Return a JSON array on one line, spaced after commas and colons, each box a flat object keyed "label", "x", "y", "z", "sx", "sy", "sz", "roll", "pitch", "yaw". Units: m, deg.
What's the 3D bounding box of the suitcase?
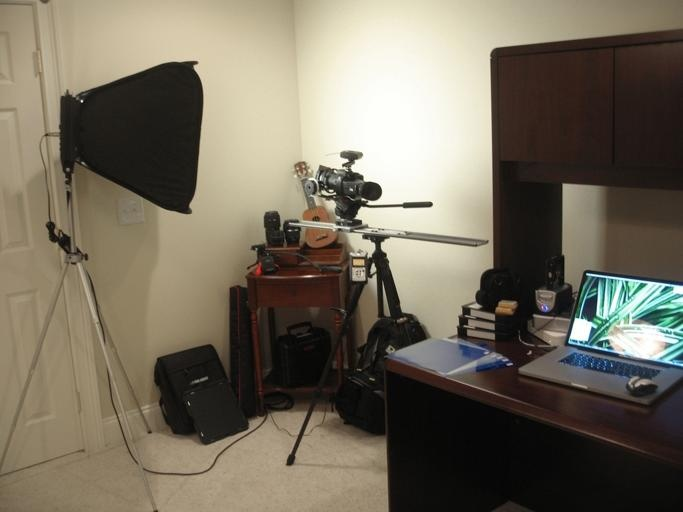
[{"label": "suitcase", "x": -0.251, "y": 0.662, "z": 3.718, "sx": 0.264, "sy": 0.384, "sz": 0.202, "roll": -16, "pitch": 27, "yaw": -40}]

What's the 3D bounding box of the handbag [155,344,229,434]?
[{"label": "handbag", "x": -0.943, "y": 0.889, "z": 3.706, "sx": 0.380, "sy": 0.530, "sz": 0.501, "roll": -14, "pitch": -20, "yaw": -30}]

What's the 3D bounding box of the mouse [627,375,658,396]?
[{"label": "mouse", "x": 1.070, "y": 0.461, "z": 2.018, "sx": 0.113, "sy": 0.053, "sz": 0.048, "roll": -1, "pitch": 11, "yaw": -5}]

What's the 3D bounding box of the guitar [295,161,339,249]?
[{"label": "guitar", "x": -0.172, "y": -0.291, "z": 3.792, "sx": 0.235, "sy": 0.661, "sz": 0.085, "roll": -16, "pitch": -11, "yaw": 9}]

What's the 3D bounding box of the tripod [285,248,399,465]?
[{"label": "tripod", "x": -0.030, "y": 0.479, "z": 3.331, "sx": 0.613, "sy": 1.233, "sz": 0.818, "roll": -2, "pitch": 11, "yaw": -6}]

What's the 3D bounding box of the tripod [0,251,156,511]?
[{"label": "tripod", "x": -1.372, "y": 0.606, "z": 3.056, "sx": 0.926, "sy": 1.259, "sz": 0.612, "roll": 0, "pitch": 11, "yaw": 1}]
